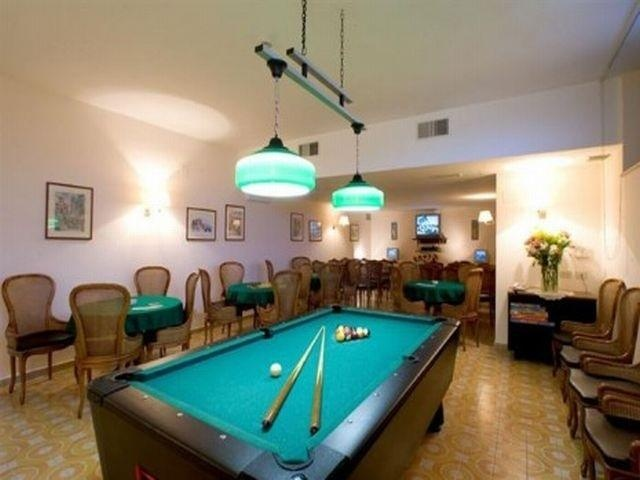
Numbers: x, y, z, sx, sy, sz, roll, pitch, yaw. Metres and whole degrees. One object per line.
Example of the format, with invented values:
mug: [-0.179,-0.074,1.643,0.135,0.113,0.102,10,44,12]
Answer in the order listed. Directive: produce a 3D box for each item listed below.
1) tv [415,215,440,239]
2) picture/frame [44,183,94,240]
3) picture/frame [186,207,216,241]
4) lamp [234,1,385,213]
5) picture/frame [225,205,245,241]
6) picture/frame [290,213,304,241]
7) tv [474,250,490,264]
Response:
tv: [2.966,-0.372,12.958,0.576,0.618,0.227,-4,-7,39]
picture/frame: [-3.095,-0.351,5.831,0.037,0.682,0.552,-3,-1,45]
picture/frame: [-1.865,-0.253,7.301,0.051,0.492,0.495,0,-1,34]
lamp: [-0.192,-0.963,4.592,1.260,2.229,1.271,5,1,-23]
picture/frame: [-1.452,-0.296,7.935,0.043,0.693,0.579,-2,-2,28]
picture/frame: [-0.497,-0.277,9.799,0.036,0.581,0.545,-2,-4,20]
tv: [4.079,0.427,11.871,0.254,0.195,0.339,23,-6,-9]
